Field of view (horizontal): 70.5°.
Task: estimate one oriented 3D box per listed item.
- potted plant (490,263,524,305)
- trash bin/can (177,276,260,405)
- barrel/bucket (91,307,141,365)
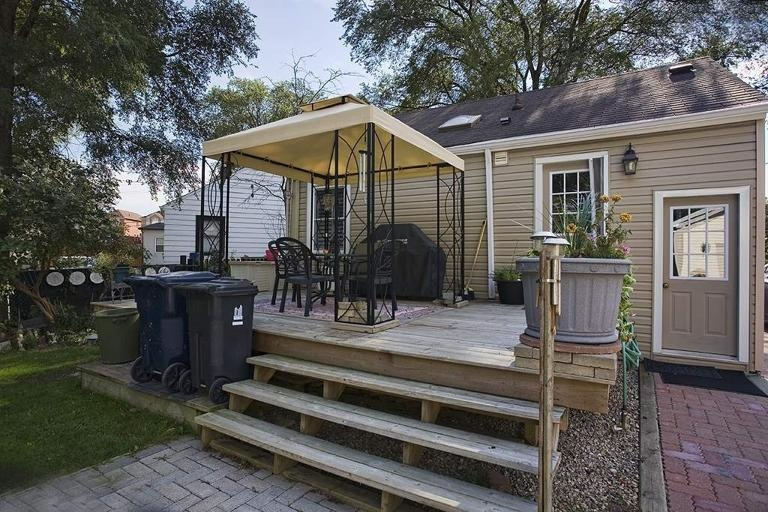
[{"bbox_3d":[2.457,0.618,10.968,0.667,0.486,0.626,1,-5,-14],"label":"potted plant"},{"bbox_3d":[-2.566,1.313,8.585,0.879,1.679,1.293,1,0,37],"label":"trash bin/can"},{"bbox_3d":[-4.639,1.422,9.634,0.893,1.062,0.625,-11,20,-20],"label":"barrel/bucket"}]
